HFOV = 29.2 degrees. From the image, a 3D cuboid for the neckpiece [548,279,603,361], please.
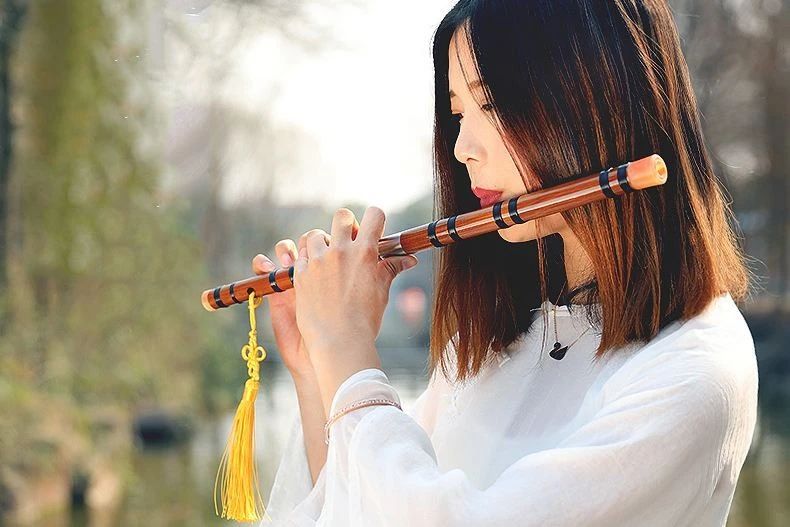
[{"bbox_3d":[0.576,0.188,4.771,0.100,0.169,0.168,25,-21,15],"label":"neckpiece"}]
